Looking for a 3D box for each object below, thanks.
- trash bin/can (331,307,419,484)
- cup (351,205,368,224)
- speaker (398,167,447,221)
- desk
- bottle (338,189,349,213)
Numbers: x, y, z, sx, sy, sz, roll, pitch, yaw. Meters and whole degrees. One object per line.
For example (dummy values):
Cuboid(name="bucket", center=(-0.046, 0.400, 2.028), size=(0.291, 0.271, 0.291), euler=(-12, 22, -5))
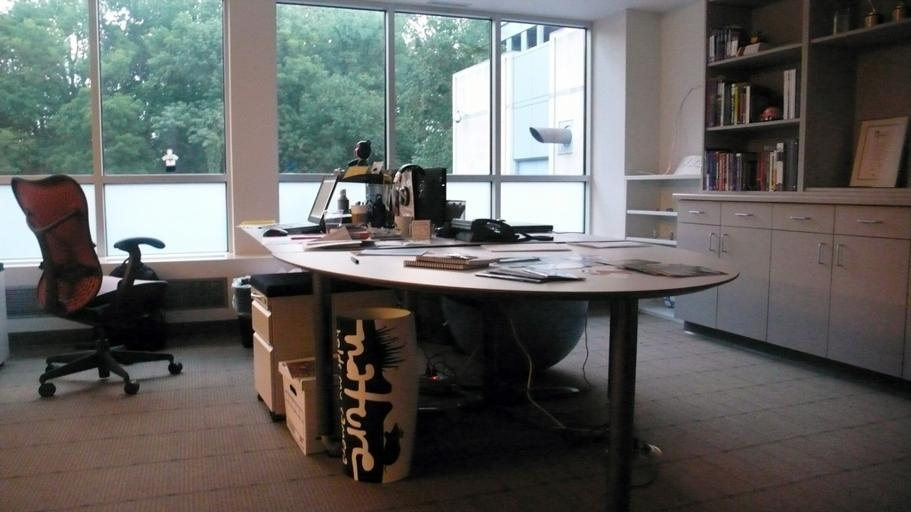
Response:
Cuboid(name="trash bin/can", center=(-0.410, 1.003, 4.695), size=(0.740, 1.052, 0.639), euler=(-4, -13, 1))
Cuboid(name="cup", center=(-0.826, -0.363, 5.669), size=(0.186, 0.160, 0.166), euler=(0, 0, 6))
Cuboid(name="speaker", center=(-0.306, -0.515, 5.715), size=(0.329, 0.456, 0.530), euler=(3, -2, -14))
Cuboid(name="desk", center=(0.569, 0.232, 4.231), size=(1.994, 0.897, 2.833), euler=(-7, 12, -34))
Cuboid(name="bottle", center=(-1.063, -0.518, 6.214), size=(0.108, 0.216, 0.255), euler=(-7, 12, -12))
